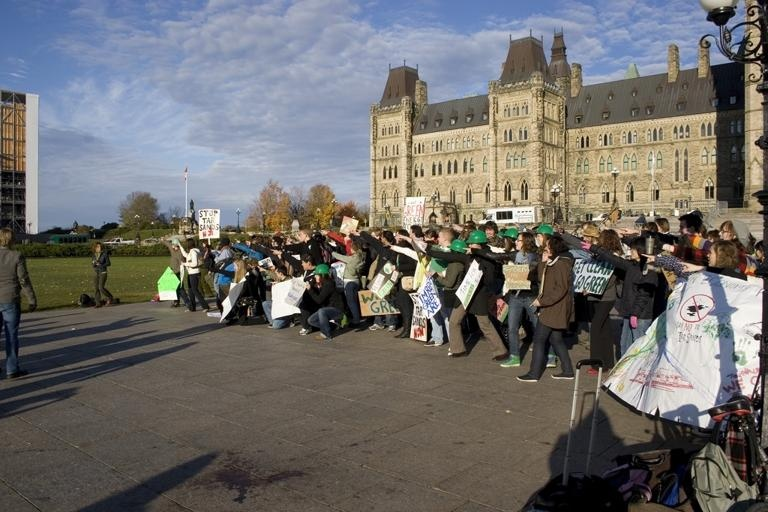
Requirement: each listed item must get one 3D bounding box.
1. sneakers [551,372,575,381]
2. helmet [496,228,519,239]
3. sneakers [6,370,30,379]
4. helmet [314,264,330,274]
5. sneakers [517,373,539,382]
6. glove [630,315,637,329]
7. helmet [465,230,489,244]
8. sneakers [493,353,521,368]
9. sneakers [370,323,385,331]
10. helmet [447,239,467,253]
[{"bbox_3d":[3.384,2.247,10.919,0.414,0.156,0.163,2,1,24],"label":"sneakers"},{"bbox_3d":[3.233,-0.582,14.993,0.452,0.229,0.323,20,1,-36],"label":"helmet"},{"bbox_3d":[-7.054,2.269,11.117,0.405,0.164,0.143,-5,12,-32],"label":"sneakers"},{"bbox_3d":[-1.621,0.333,14.885,0.318,0.168,0.228,6,11,14],"label":"helmet"},{"bbox_3d":[2.675,2.231,10.764,0.373,0.143,0.147,3,-3,13],"label":"sneakers"},{"bbox_3d":[4.651,1.231,10.763,0.071,0.194,0.145,-5,-40,30],"label":"glove"},{"bbox_3d":[2.072,-0.400,12.753,0.349,0.289,0.505,-1,6,-1],"label":"helmet"},{"bbox_3d":[2.546,2.133,11.953,0.596,0.267,0.218,1,7,4],"label":"sneakers"},{"bbox_3d":[-0.213,2.001,16.308,0.352,0.152,0.159,2,-1,-13],"label":"sneakers"},{"bbox_3d":[1.584,-0.202,12.458,0.368,0.257,0.590,-1,6,5],"label":"helmet"}]
